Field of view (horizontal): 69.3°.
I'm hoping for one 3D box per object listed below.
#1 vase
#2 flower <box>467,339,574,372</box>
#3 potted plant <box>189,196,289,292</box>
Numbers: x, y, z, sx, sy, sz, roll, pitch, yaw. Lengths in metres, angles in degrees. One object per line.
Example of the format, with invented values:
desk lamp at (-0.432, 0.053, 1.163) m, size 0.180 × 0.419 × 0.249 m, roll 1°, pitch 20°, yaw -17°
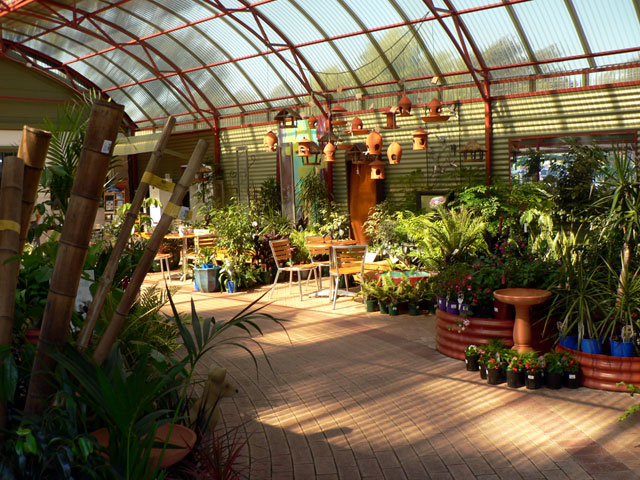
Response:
vase at (2.120, 1.315, 4.652) m, size 0.574 × 0.199 × 0.450 m, roll 1°, pitch 2°, yaw 18°
flower at (2.057, 1.214, 4.773) m, size 0.618 × 0.231 × 0.435 m, roll 3°, pitch 3°, yaw 13°
potted plant at (-1.616, 0.104, 10.558) m, size 1.636 × 1.760 × 2.035 m, roll -1°, pitch 5°, yaw 1°
